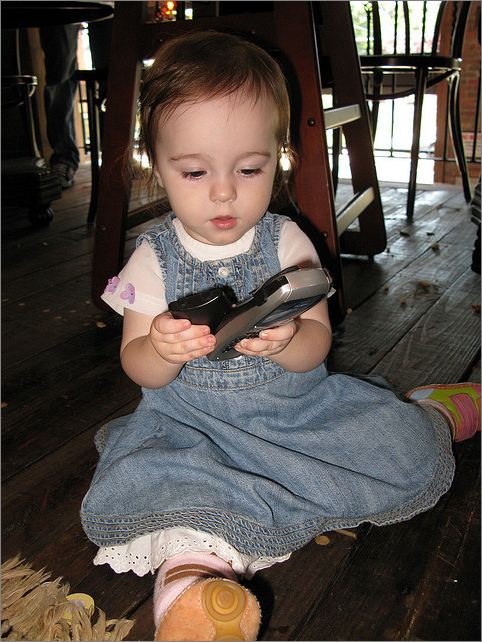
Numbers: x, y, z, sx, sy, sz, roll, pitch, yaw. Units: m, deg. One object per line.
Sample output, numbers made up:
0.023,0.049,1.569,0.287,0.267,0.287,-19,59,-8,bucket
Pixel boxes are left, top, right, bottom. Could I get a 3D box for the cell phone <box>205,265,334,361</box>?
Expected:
0.017,-0.003,0.574,0.152,0.038,0.090,-36,-27,32,cell phone
